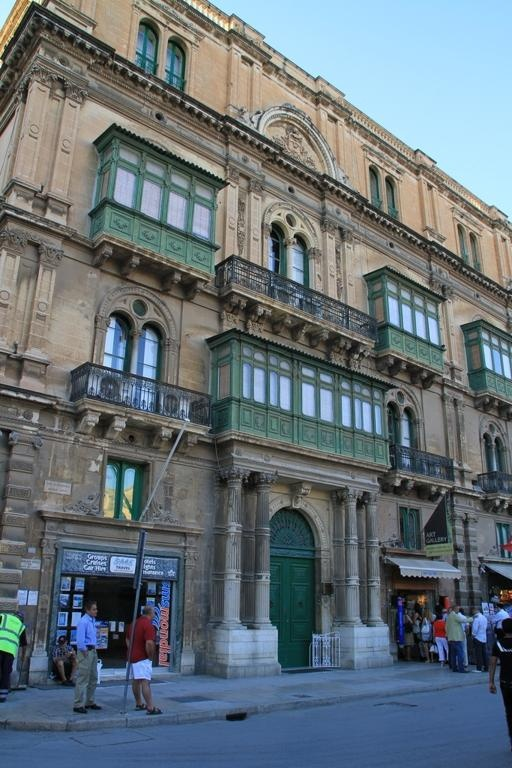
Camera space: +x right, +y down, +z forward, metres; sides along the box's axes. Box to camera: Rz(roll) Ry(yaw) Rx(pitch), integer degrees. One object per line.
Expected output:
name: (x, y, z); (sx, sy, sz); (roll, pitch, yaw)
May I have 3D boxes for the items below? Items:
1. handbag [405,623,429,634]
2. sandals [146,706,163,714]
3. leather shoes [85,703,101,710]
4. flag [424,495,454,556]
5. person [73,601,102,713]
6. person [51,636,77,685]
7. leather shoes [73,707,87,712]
handbag: (5.897, 8.990, 21.861); (0.368, 0.266, 0.357); (2, -5, -28)
sandals: (-1.533, 4.893, 8.891); (0.225, 0.096, 0.117); (5, -13, -11)
leather shoes: (-2.562, 5.067, 9.318); (0.241, 0.103, 0.087); (12, -39, -5)
flag: (7.143, 5.565, 23.369); (0.861, 2.268, 1.805); (6, -19, -15)
person: (-2.673, 4.333, 9.499); (0.457, 1.592, 1.053); (6, -19, -15)
person: (-4.162, 5.956, 12.794); (0.423, 0.924, 0.604); (10, -20, -26)
leather shoes: (-2.651, 4.898, 8.923); (0.221, 0.094, 0.086); (-17, -29, 33)
